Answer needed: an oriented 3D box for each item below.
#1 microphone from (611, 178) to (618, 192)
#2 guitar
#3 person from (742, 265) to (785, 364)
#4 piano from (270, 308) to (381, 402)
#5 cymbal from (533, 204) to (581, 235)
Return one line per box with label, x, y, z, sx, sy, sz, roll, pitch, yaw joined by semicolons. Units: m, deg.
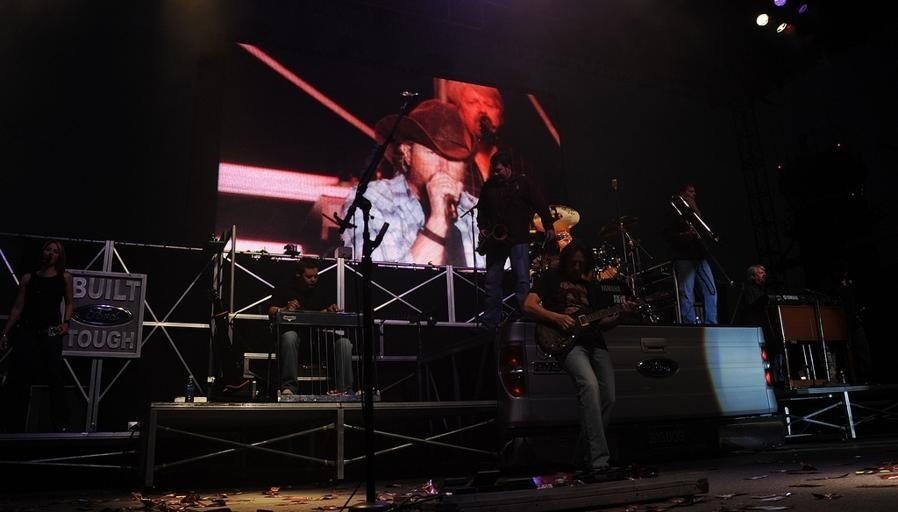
microphone;4.772;-2.027;20.383;0.265;0.436;0.135;-5;5;-29
guitar;2.559;1.406;13.305;1.827;0.885;0.291;-6;-17;10
person;7.883;1.542;17.713;0.662;2.588;1.049;15;-15;-42
piano;-2.886;2.287;15.566;1.840;1.935;2.355;0;-16;-10
cymbal;3.035;-1.011;19.286;1.149;0.596;0.889;-3;0;-11
